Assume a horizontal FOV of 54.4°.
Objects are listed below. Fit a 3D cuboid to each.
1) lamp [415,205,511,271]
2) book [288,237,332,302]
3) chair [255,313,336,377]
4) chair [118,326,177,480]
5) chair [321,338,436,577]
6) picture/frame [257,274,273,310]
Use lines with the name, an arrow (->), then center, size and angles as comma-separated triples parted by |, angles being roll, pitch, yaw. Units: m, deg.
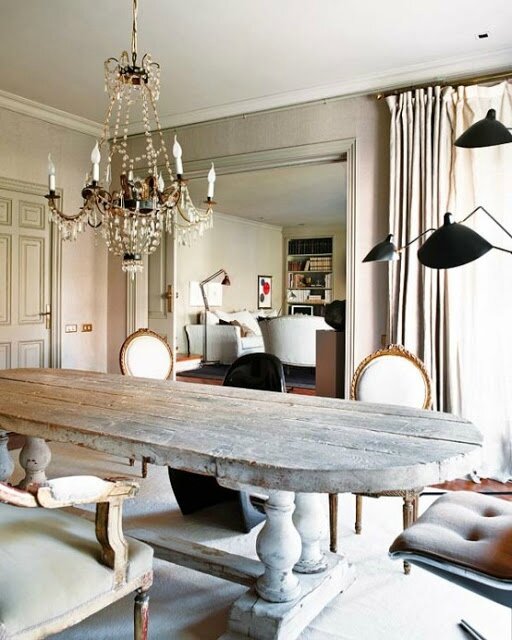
lamp -> 0.709, -0.295, 1.797 | 0.186, 0.220, 0.264 | -1, 1, -21
book -> 1.141, -1.056, 10.681 | 1.088, 1.071, 0.334 | -1, 1, 40
chair -> 0.411, 0.211, 6.099 | 0.649, 0.645, 0.665 | 2, 11, 39
chair -> -0.677, 0.423, 2.996 | 0.342, 0.735, 0.398 | 4, 1, -19
chair -> 0.536, 0.554, 2.085 | 0.435, 0.856, 0.463 | 5, -1, -40
picture/frame -> 0.160, -0.603, 10.349 | 0.052, 0.869, 0.693 | -1, 0, 27
